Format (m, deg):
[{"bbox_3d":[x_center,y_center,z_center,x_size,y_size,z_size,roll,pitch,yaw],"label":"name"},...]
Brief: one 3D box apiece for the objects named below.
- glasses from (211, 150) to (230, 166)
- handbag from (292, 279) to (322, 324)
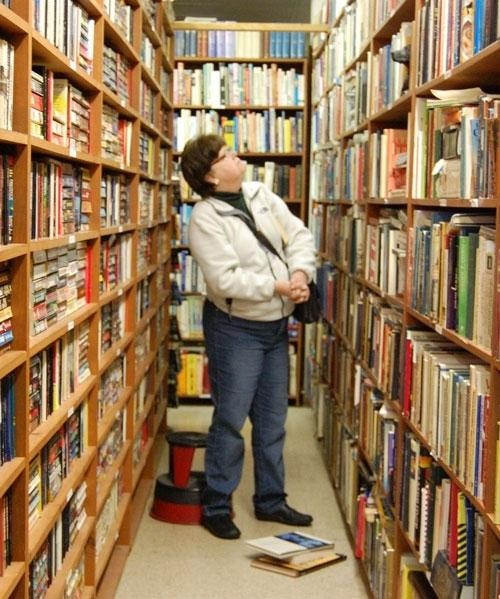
[{"bbox_3d":[-0.139,-0.670,2.395,0.074,0.024,0.076,-42,7,34],"label":"glasses"},{"bbox_3d":[0.280,0.006,2.593,0.134,0.331,0.222,0,1,0],"label":"handbag"}]
